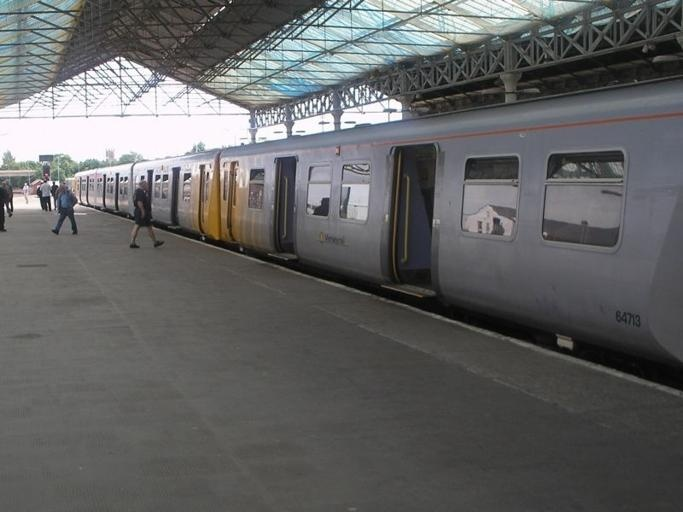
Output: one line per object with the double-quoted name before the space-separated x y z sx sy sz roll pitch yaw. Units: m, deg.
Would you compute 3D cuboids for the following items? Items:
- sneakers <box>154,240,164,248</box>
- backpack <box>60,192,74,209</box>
"sneakers" -6.128 -0.405 16.786 0.160 0.222 0.498 3 11 21
"backpack" -11.042 -2.230 20.106 0.681 0.757 0.395 1 -2 -43
